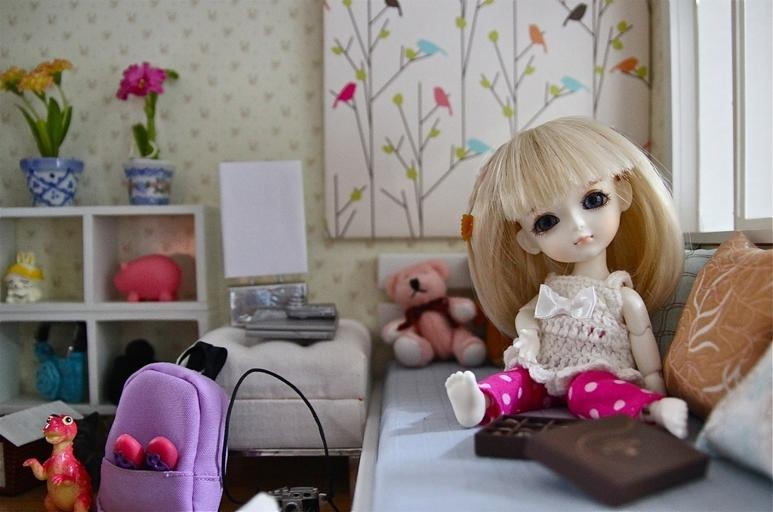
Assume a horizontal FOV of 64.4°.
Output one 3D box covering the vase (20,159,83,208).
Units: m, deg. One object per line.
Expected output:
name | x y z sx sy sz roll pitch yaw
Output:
vase | -1.532 -0.327 2.818 0.231 0.190 0.238 -4 5 -44

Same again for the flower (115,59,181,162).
flower | -1.131 -0.677 2.851 0.309 0.471 0.238 -4 7 -7

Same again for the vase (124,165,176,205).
vase | -1.079 -0.319 2.885 0.225 0.206 0.238 4 -3 -4

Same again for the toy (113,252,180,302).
toy | -1.126 0.107 2.882 0.288 0.218 0.214 -4 4 -7

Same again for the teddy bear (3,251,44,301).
teddy bear | -1.684 0.105 2.820 0.151 0.223 0.092 -4 7 -4

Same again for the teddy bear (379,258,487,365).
teddy bear | 0.191 0.260 2.722 0.414 0.487 0.319 -9 8 16
